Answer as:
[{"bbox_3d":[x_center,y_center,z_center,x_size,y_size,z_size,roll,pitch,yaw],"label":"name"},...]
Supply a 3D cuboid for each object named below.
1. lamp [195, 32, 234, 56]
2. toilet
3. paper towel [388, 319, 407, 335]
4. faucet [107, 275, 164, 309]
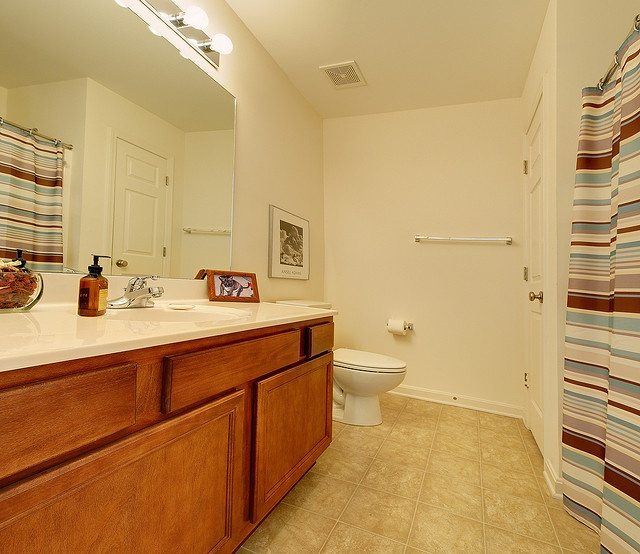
[{"bbox_3d":[-0.513,-1.098,2.124,0.199,0.115,0.100,8,37,34],"label":"lamp"},{"bbox_3d":[0.181,0.522,2.764,0.660,0.696,0.331,4,3,18],"label":"toilet"},{"bbox_3d":[0.563,0.365,3.266,0.127,0.121,0.104,-3,10,28],"label":"paper towel"},{"bbox_3d":[-0.663,0.054,1.698,0.082,0.135,0.240,-2,-5,33],"label":"faucet"}]
